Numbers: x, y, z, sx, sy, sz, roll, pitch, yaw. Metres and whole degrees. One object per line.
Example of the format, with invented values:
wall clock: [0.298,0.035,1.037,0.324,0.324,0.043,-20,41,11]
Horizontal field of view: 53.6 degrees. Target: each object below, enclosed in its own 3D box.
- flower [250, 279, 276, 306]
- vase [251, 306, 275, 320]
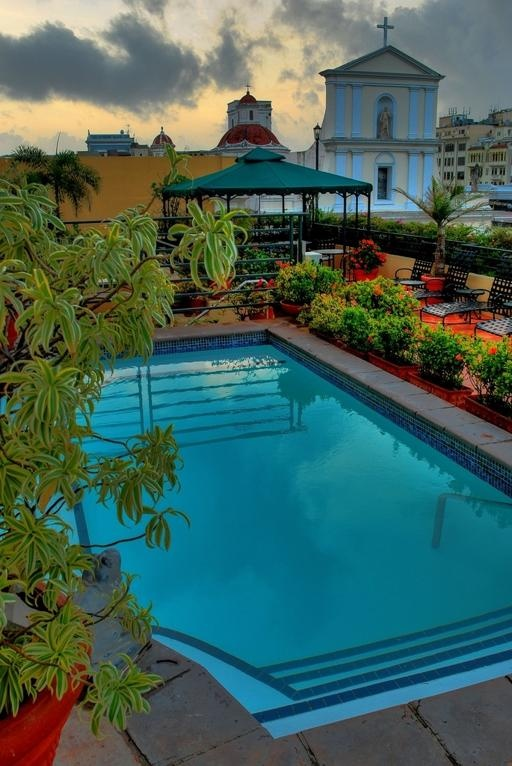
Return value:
flower: [0.097,-1.709,9.320,0.486,0.481,0.491,1,39,-2]
vase: [0.094,-1.284,9.246,0.452,0.254,0.254,-1,-10,-7]
